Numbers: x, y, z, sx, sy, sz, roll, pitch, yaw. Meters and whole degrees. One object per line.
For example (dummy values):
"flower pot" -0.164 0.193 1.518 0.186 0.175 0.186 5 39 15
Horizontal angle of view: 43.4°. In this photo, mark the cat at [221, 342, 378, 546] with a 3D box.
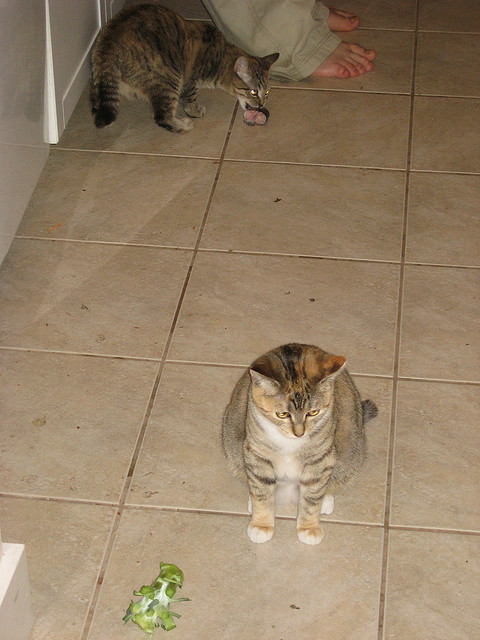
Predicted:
"cat" 0.143 0.251 1.371 0.395 0.566 0.362 0 48 2

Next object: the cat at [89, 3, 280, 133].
"cat" -0.308 -1.225 3.194 1.051 0.555 0.545 -9 61 -35

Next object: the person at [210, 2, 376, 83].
"person" 0.258 -1.506 3.288 0.688 0.739 0.371 2 85 -6

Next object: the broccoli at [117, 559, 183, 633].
"broccoli" -0.184 0.585 1.277 0.089 0.040 0.119 18 43 0
